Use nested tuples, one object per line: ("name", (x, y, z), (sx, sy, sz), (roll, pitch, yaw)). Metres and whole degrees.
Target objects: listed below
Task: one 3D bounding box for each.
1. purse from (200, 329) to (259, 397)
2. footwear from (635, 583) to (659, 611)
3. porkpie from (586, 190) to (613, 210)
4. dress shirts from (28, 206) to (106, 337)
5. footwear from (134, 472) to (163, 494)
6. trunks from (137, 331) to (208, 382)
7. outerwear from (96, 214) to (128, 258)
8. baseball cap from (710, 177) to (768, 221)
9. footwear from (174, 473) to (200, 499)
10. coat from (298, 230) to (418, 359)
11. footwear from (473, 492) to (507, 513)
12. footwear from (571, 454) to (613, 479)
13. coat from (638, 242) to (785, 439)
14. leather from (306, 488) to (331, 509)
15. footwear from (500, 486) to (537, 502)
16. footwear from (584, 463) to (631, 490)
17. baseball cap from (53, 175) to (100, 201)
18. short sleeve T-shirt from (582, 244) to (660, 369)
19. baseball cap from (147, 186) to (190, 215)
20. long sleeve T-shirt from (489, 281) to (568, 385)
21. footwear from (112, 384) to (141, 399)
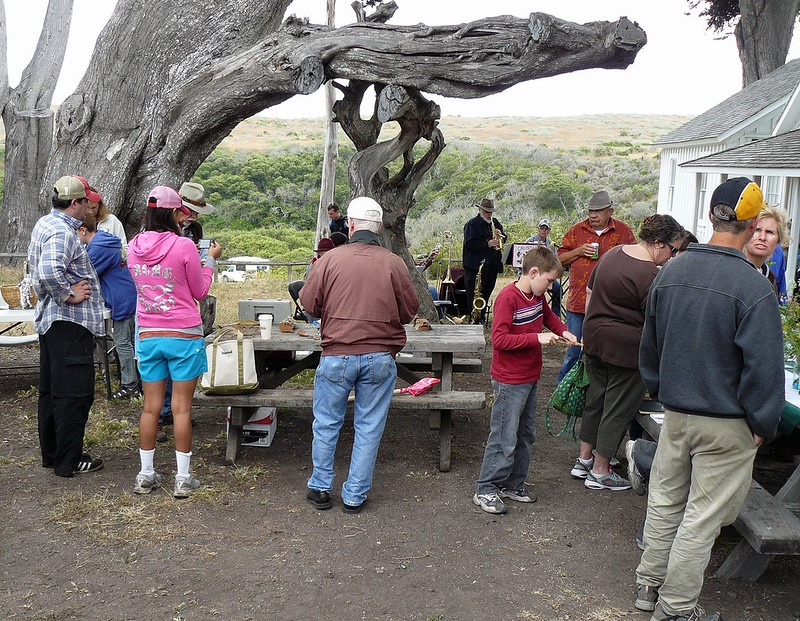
("purse", (-1.404, 0.460, 5.295), (0.552, 0.585, 0.217), (-1, -13, -10))
("footwear", (1.402, 1.651, 3.691), (0.071, 0.083, 0.192), (1, 0, 14))
("porkpie", (1.994, -1.096, 6.470), (0.197, 0.205, 0.353), (9, 14, 34))
("dress shirts", (-2.643, -0.301, 5.184), (0.676, 1.185, 1.198), (-4, 9, -31))
("footwear", (-1.902, 1.316, 4.879), (0.103, 0.108, 0.235), (0, 3, 5))
("trunks", (-1.694, 0.355, 4.792), (0.533, 0.358, 0.321), (0, -3, -2))
("outerwear", (-3.428, -0.912, 7.643), (0.397, 0.469, 0.257), (20, 40, 28))
("baseball cap", (1.799, -0.615, 3.440), (0.208, 0.172, 0.297), (18, 50, 38))
("footwear", (-1.599, 1.329, 4.872), (0.093, 0.109, 0.249), (0, 2, 7))
("coat", (-0.273, -0.072, 4.746), (0.937, 0.821, 0.546), (4, 7, 4))
("footwear", (0.653, 1.416, 4.758), (0.246, 0.107, 0.098), (3, 4, 41))
("footwear", (1.534, 1.281, 5.267), (0.280, 0.120, 0.098), (-12, 7, -35))
("coat", (1.665, 0.142, 3.397), (0.665, 0.922, 0.269), (8, 15, 31))
("leather", (-0.594, 1.395, 4.747), (0.093, 0.086, 0.206), (-1, 6, -31))
("footwear", (0.885, 1.389, 4.880), (0.287, 0.124, 0.102), (1, 1, 13))
("footwear", (1.617, 1.342, 5.103), (0.359, 0.154, 0.139), (2, -2, 2))
("baseball cap", (-2.522, -0.938, 4.989), (0.253, 0.177, 0.199), (-10, 16, -43))
("short sleeve T-shirt", (1.673, -0.041, 4.893), (0.464, 0.834, 0.699), (-5, 15, -21))
("baseball cap", (-1.753, -0.833, 4.907), (0.175, 0.140, 0.261), (7, 11, 19))
("long sleeve T-shirt", (0.910, 0.168, 4.647), (0.619, 0.703, 0.344), (-9, 16, -38))
("footwear", (-2.959, 0.910, 7.012), (0.380, 0.172, 0.122), (3, -2, -17))
